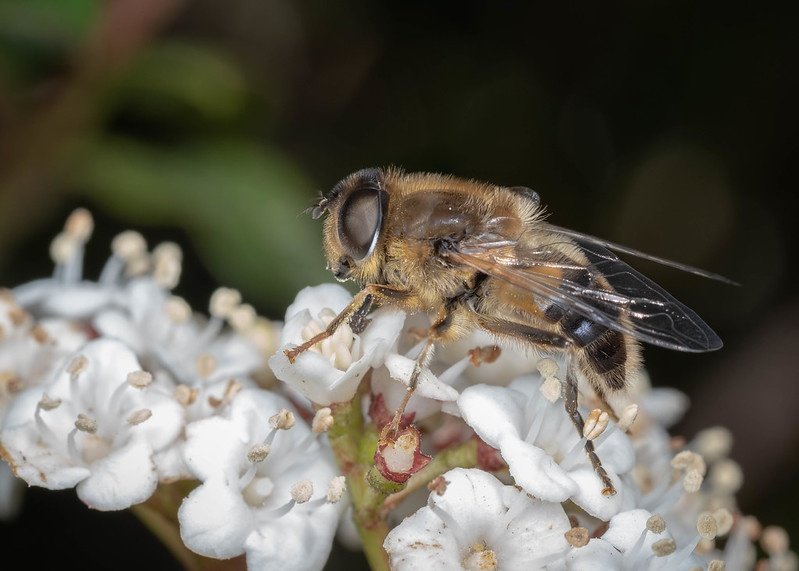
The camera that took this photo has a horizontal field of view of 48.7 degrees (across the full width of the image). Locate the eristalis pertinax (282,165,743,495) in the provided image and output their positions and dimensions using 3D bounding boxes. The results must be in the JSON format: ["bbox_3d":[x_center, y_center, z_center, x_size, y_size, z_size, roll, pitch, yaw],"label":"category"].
[{"bbox_3d":[0.313,0.026,2.833,1.284,0.609,1.387,19,18,0],"label":"eristalis pertinax"}]

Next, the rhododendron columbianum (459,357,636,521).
[{"bbox_3d":[0.374,0.416,2.305,0.381,0.145,0.384,32,15,-18],"label":"rhododendron columbianum"}]
